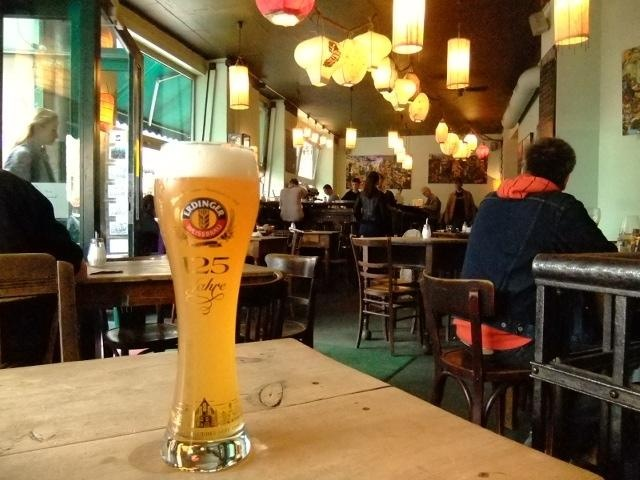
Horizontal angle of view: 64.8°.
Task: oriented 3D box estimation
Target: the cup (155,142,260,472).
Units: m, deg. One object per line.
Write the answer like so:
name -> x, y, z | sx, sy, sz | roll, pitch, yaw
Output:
cup -> -0.130, 0.072, 0.615 | 0.128, 0.373, 0.141 | -2, 12, -18

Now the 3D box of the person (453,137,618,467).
person -> 0.999, 0.278, 2.447 | 0.831, 1.471, 0.608 | 2, 7, -31
